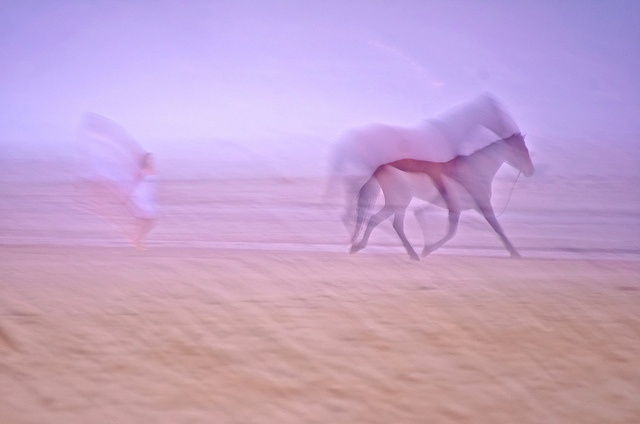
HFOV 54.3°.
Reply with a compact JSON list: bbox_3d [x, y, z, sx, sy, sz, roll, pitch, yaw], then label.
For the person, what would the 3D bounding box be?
[{"bbox_3d":[-3.936,-0.268,12.887,0.535,1.945,1.221,7,6,-34],"label":"person"}]
